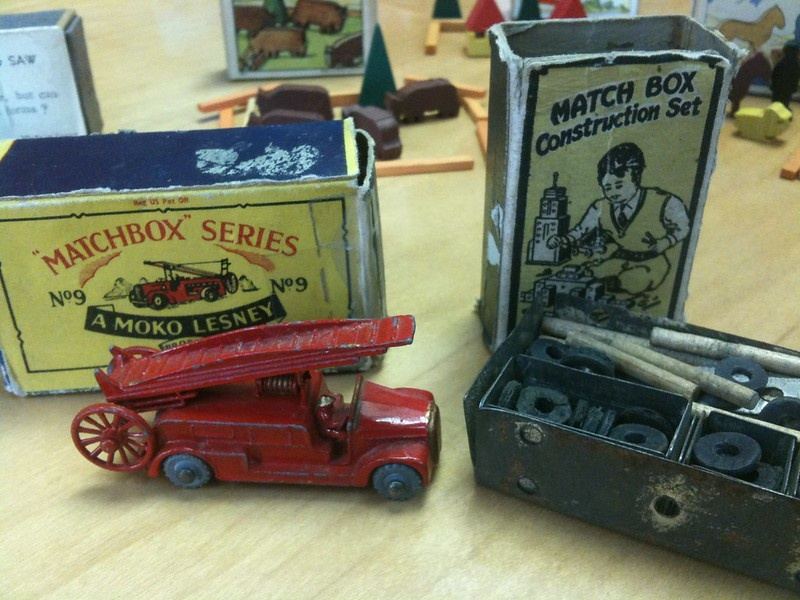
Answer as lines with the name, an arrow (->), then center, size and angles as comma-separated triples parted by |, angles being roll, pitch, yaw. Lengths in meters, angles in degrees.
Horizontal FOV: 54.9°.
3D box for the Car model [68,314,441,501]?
Car model -> -0.504, 0.311, 2.900 | 1.701, 0.723, 0.535 | -1, 44, -1
